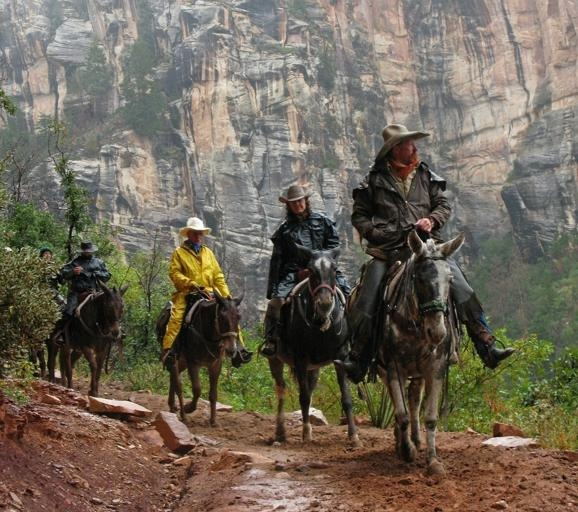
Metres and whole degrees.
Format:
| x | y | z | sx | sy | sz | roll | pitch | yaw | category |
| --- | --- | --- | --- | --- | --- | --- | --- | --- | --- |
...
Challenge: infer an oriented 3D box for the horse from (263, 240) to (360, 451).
| x | y | z | sx | sy | sz | roll | pitch | yaw | category |
| --- | --- | --- | --- | --- | --- | --- | --- | --- | --- |
| 1.645 | 4.925 | 69.284 | 5.583 | 12.325 | 5.159 | -1 | 1 | -16 | horse |

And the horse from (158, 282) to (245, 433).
| x | y | z | sx | sy | sz | roll | pitch | yaw | category |
| --- | --- | --- | --- | --- | --- | --- | --- | --- | --- |
| -6.274 | 7.173 | 72.643 | 3.710 | 8.374 | 13.176 | 5 | -7 | -21 | horse |

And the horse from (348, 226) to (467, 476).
| x | y | z | sx | sy | sz | roll | pitch | yaw | category |
| --- | --- | --- | --- | --- | --- | --- | --- | --- | --- |
| 6.806 | 5.745 | 67.521 | 6.898 | 13.077 | 6.799 | 0 | -1 | -3 | horse |
